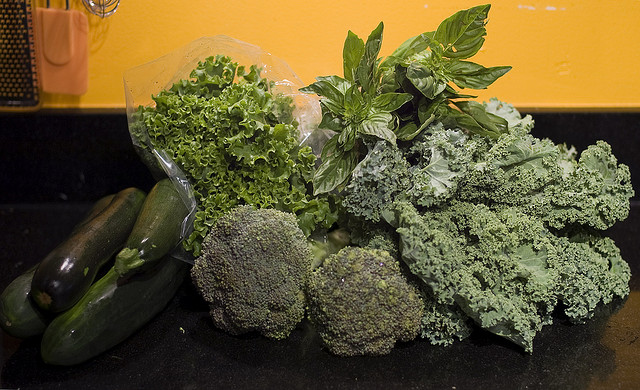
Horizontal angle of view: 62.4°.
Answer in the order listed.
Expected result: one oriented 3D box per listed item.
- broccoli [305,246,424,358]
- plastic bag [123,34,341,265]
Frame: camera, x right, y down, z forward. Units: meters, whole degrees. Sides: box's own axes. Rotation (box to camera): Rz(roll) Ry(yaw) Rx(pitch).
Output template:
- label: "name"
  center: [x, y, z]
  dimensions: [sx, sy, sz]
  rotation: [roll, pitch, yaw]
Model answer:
- label: "broccoli"
  center: [0.248, 0.466, 2.725]
  dimensions: [0.485, 0.524, 0.500]
  rotation: [2, 14, 16]
- label: "plastic bag"
  center: [-0.525, -0.472, 3.123]
  dimensions: [0.796, 1.609, 1.003]
  rotation: [1, 4, -2]
